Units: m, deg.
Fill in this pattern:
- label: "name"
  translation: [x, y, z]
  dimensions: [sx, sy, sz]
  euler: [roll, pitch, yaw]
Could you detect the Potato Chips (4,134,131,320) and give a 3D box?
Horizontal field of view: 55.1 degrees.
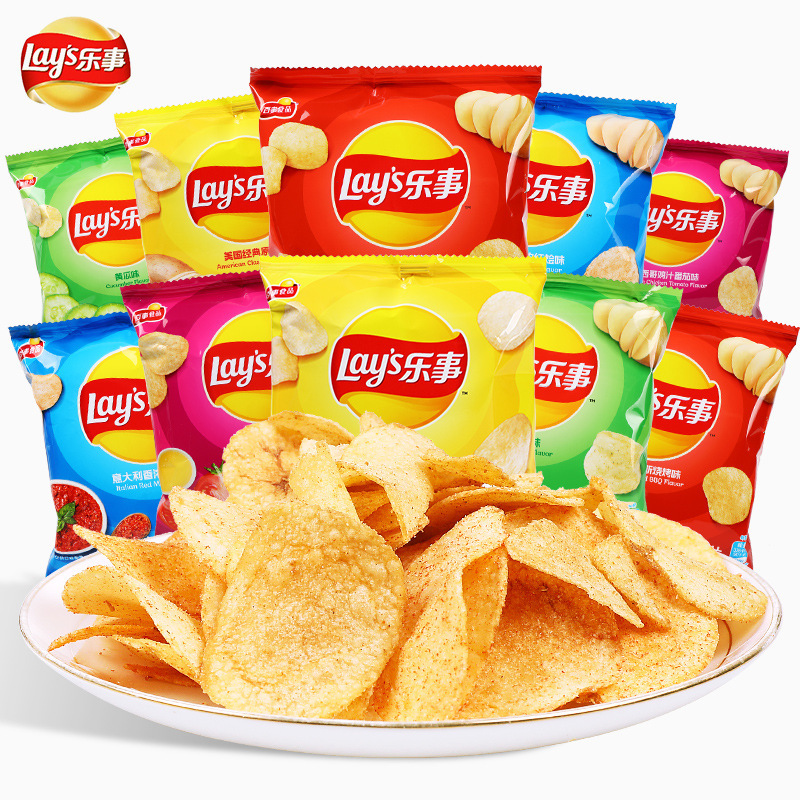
- label: "Potato Chips"
  translation: [-1.218, -0.647, 2.873]
  dimensions: [0.519, 0.622, 0.415]
  euler: [-1, 27, -11]
